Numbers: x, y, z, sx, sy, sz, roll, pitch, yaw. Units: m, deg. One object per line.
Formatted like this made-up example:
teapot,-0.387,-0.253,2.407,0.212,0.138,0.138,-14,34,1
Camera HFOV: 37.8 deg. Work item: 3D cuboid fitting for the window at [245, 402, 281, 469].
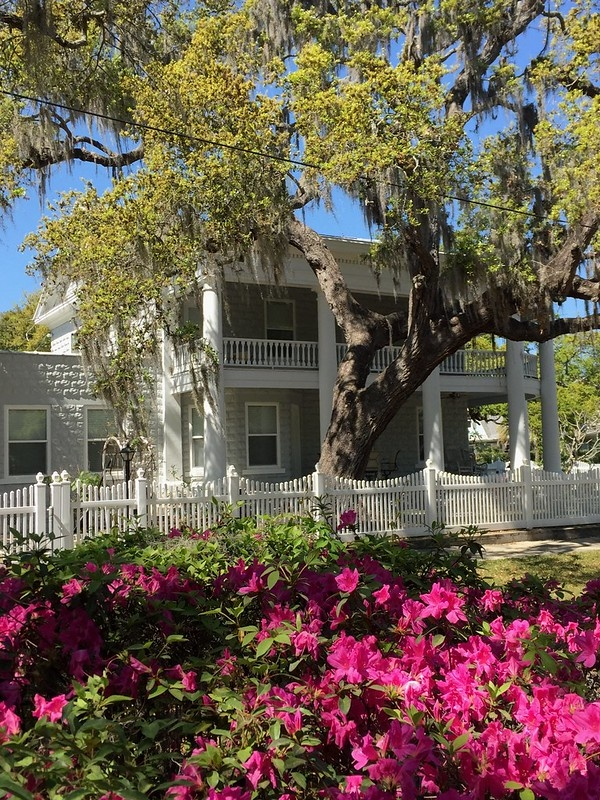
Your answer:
window,-0.804,0.785,18.935,0.801,1.483,0.077,0,-3,-20

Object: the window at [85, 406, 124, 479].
window,-3.812,0.781,17.048,0.739,1.375,0.063,0,0,5
